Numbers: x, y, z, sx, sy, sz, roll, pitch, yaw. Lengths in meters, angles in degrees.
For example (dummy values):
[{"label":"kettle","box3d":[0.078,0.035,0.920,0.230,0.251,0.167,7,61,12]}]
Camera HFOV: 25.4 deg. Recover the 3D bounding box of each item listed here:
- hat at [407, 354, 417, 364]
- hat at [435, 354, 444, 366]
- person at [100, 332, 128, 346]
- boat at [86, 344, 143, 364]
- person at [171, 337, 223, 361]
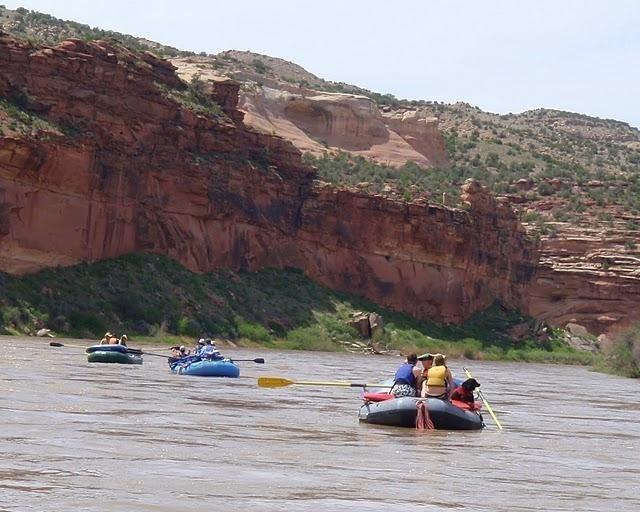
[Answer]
[{"label":"hat","box3d":[4.015,4.376,61.858,0.404,0.380,0.571,3,-25,1]},{"label":"hat","box3d":[5.167,4.401,61.262,0.407,0.448,0.454,1,-25,-1]},{"label":"person","box3d":[-10.656,4.343,74.325,1.140,0.458,1.147,3,-1,14]},{"label":"boat","box3d":[-10.485,4.968,72.754,3.054,1.055,0.691,8,-8,-37]},{"label":"person","box3d":[-6.237,4.635,71.717,2.088,1.163,1.237,-9,-13,25]}]
